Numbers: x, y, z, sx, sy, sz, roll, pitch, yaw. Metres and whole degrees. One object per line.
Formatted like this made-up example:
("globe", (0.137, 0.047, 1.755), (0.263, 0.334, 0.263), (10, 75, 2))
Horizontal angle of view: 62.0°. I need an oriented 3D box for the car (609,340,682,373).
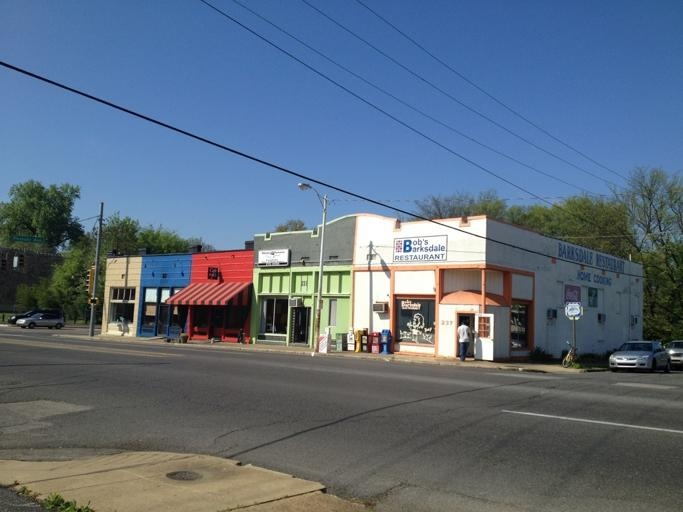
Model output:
("car", (14.319, 4.890, 27.434), (3.365, 1.409, 1.557), (4, -3, -36))
